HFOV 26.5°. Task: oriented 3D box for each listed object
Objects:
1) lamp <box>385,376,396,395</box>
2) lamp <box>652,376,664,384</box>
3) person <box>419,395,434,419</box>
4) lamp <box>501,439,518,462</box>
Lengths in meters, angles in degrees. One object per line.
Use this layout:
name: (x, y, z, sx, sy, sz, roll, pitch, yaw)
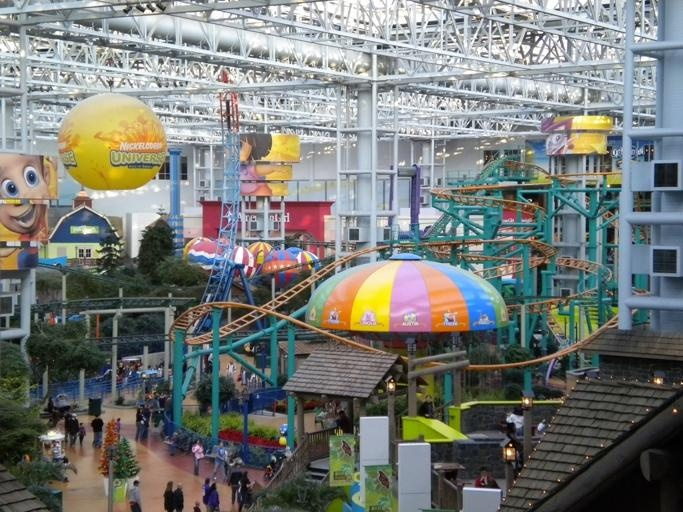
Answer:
lamp: (1.122, 3.334, 37.053, 0.375, 0.550, 0.376, 0, -3, -9)
lamp: (6.720, 2.704, 31.107, 0.248, 0.167, 0.134, 1, -5, -19)
person: (2.425, 4.515, 43.463, 0.548, 0.742, 0.534, -1, 0, 17)
lamp: (3.842, 4.533, 33.599, 0.306, 0.540, 0.407, 0, 2, 2)
